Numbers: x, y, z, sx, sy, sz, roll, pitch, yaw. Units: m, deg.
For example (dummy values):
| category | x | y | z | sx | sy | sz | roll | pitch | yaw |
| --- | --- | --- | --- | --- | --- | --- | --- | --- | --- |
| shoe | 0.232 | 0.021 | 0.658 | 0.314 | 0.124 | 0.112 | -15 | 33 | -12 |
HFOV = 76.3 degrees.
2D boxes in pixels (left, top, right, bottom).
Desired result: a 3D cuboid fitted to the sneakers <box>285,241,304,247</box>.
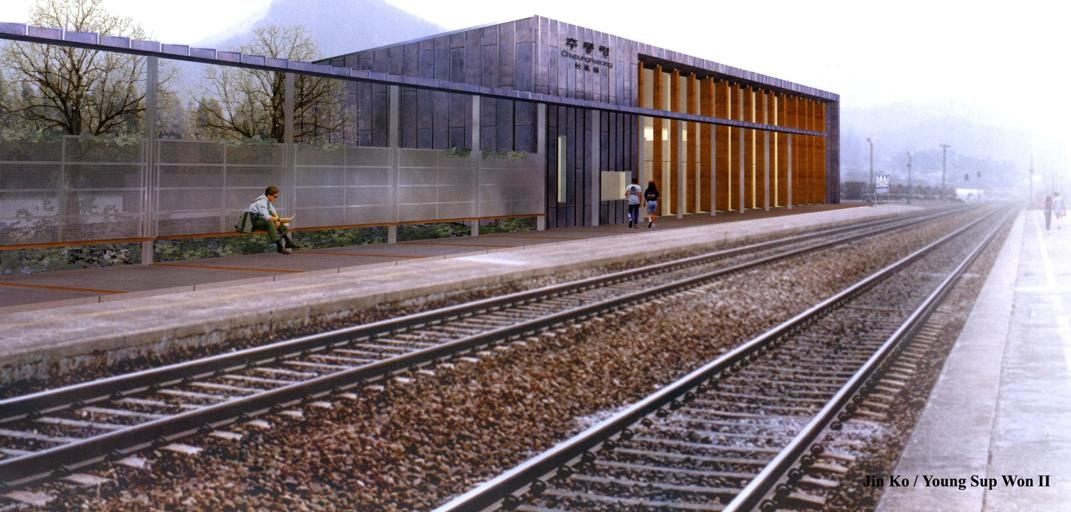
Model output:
| category | x | y | z | sx | sy | sz | roll | pitch | yaw |
| --- | --- | --- | --- | --- | --- | --- | --- | --- | --- |
| sneakers | -9.158 | -0.416 | 26.071 | 0.687 | 0.263 | 0.211 | -4 | 4 | 7 |

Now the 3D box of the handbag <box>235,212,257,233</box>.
| category | x | y | z | sx | sy | sz | roll | pitch | yaw |
| --- | --- | --- | --- | --- | --- | --- | --- | --- | --- |
| handbag | -9.978 | -1.131 | 23.666 | 0.524 | 0.697 | 0.324 | -1 | 5 | -17 |
